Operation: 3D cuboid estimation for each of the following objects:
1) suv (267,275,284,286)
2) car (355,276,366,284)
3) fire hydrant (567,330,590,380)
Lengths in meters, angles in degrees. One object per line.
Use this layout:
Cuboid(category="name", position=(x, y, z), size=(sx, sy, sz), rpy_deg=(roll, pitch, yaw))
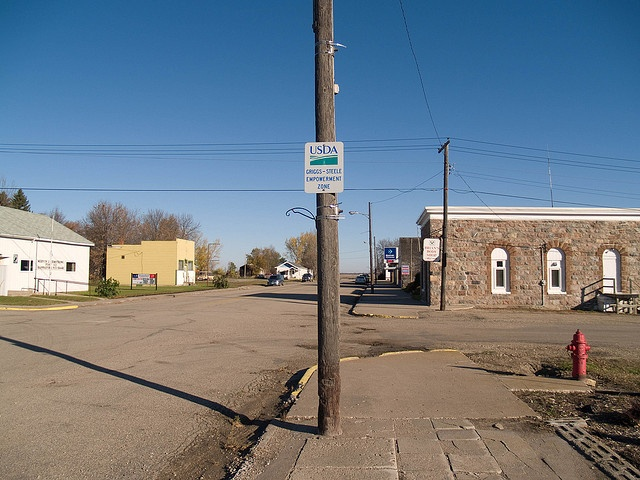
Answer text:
Cuboid(category="suv", position=(-5.515, 5.036, 68.811), size=(1.129, 0.944, 1.845), rpy_deg=(-2, -16, 11))
Cuboid(category="car", position=(6.639, 6.183, 87.745), size=(1.402, 1.553, 5.755), rpy_deg=(0, -7, 8))
Cuboid(category="fire hydrant", position=(5.463, 2.435, 11.623), size=(0.375, 1.017, 0.445), rpy_deg=(-2, -6, 28))
